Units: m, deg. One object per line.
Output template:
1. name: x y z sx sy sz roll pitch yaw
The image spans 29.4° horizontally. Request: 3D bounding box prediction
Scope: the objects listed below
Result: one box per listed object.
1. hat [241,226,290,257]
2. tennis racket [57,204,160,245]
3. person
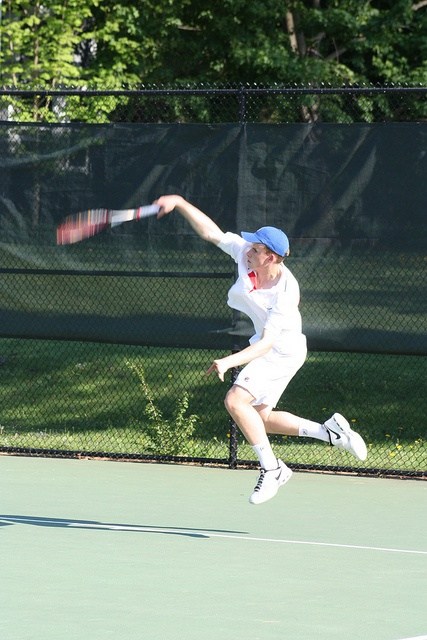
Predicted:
1. hat: 0.261 -0.422 4.199 0.217 0.108 0.144 22 8 -6
2. tennis racket: -0.702 -0.661 5.618 1.073 0.208 0.284 -12 11 -29
3. person: 0.091 0.135 4.521 0.918 1.698 1.182 2 1 44
